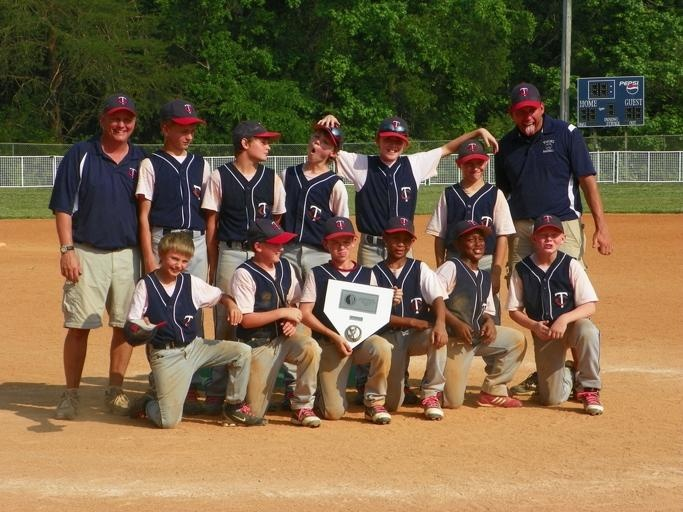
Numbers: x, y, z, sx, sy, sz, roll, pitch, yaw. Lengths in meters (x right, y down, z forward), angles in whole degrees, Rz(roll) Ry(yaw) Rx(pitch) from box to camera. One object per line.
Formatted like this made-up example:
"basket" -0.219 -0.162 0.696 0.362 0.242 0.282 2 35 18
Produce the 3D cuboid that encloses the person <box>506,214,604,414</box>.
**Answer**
"person" 2.756 0.751 16.155 1.128 2.520 0.484 -1 2 7

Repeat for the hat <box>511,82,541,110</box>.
"hat" 2.445 -2.085 16.488 0.402 0.344 0.282 -2 2 -1

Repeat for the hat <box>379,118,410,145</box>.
"hat" 0.675 -1.644 16.508 0.393 0.345 0.367 -2 2 0

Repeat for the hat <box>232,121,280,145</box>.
"hat" -1.121 -1.599 16.239 0.513 0.227 0.335 -5 5 -6

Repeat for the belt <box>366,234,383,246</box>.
"belt" 0.434 -0.200 16.456 0.160 0.081 0.126 4 2 7

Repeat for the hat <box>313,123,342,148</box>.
"hat" -0.123 -1.531 16.318 0.437 0.293 0.178 -3 3 -37

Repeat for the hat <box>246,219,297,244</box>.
"hat" -0.907 -0.314 15.794 0.449 0.183 0.293 0 12 5

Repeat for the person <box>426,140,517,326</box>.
"person" 1.690 -0.137 16.677 1.193 2.714 0.738 1 17 9

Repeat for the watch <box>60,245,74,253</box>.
"watch" -3.477 -0.105 15.822 0.109 0.118 0.108 -17 -17 28

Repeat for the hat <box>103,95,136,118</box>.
"hat" -2.827 -1.918 15.953 0.399 0.289 0.348 -3 2 -32

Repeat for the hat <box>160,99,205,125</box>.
"hat" -2.101 -1.838 16.146 0.452 0.256 0.327 5 10 29

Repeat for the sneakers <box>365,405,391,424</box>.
"sneakers" 0.470 2.002 15.855 0.143 0.182 0.389 -4 -8 -29

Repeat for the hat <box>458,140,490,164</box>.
"hat" 1.736 -1.364 16.563 0.393 0.334 0.441 -1 2 5

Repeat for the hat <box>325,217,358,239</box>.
"hat" -0.026 -0.350 15.911 0.390 0.282 0.306 -2 2 -2
